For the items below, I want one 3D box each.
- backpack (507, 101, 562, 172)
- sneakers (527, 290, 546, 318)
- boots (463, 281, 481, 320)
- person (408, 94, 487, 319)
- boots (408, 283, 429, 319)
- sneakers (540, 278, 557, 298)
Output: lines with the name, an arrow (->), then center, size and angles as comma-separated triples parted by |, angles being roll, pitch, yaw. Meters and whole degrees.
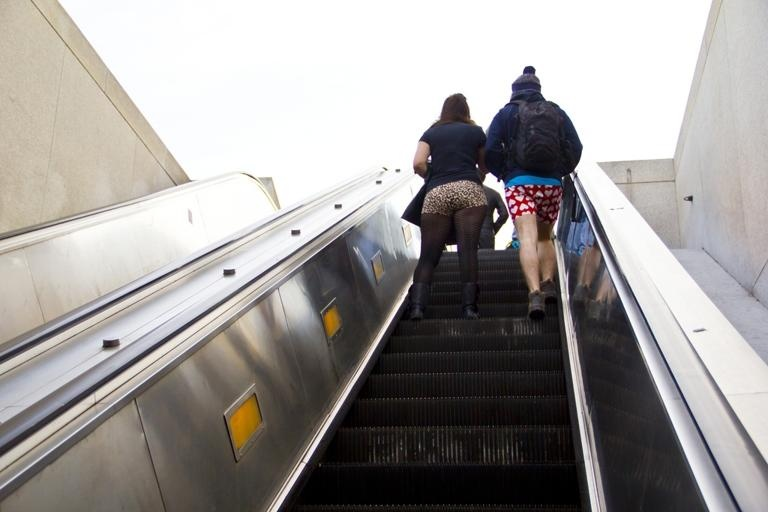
backpack -> 1.376, -1.077, 3.675 | 0.475, 0.655, 0.403 | 0, 1, 1
sneakers -> 1.261, 0.423, 3.298 | 0.123, 0.155, 0.216 | 0, -49, 20
boots -> 0.758, 0.400, 3.519 | 0.128, 0.325, 0.176 | -2, -49, 22
person -> 0.626, -0.458, 3.991 | 0.767, 2.238, 0.655 | -1, -11, 23
boots -> 0.308, 0.425, 3.664 | 0.183, 0.316, 0.194 | 3, -11, 20
sneakers -> 1.460, 0.305, 3.519 | 0.152, 0.224, 0.069 | 17, -44, 5
